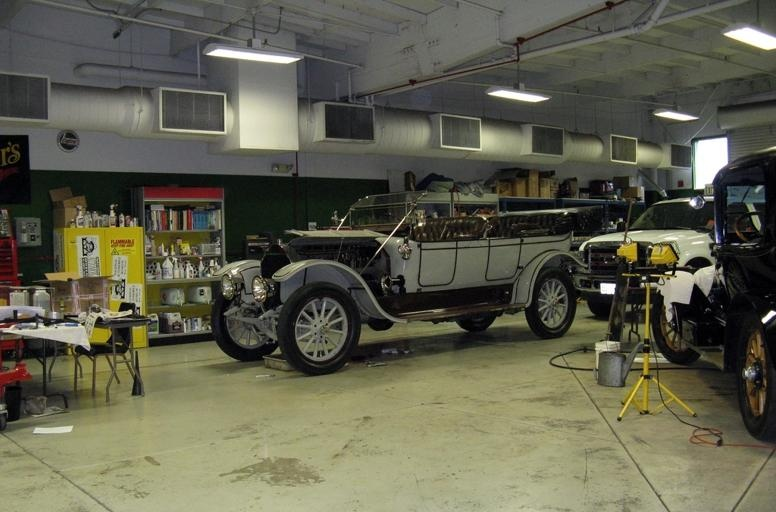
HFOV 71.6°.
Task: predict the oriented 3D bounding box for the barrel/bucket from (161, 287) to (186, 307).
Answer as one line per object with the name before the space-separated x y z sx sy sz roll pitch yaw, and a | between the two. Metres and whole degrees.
barrel/bucket | -3.897 0.734 9.621 0.394 0.260 0.563 -3 3 -44

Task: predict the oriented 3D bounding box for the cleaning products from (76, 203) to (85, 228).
cleaning products | -5.007 -0.658 8.756 0.135 0.349 0.274 -5 5 -28

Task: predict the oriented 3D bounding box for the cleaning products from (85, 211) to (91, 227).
cleaning products | -4.899 -0.601 8.817 0.097 0.227 0.242 -5 5 -28

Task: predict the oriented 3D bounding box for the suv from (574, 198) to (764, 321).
suv | 4.709 -0.090 9.463 3.286 1.413 1.647 1 -2 -21

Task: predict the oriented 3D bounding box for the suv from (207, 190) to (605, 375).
suv | 0.431 0.355 8.613 5.932 1.946 2.430 0 -3 -28

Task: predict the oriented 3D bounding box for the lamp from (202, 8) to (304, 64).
lamp | -2.145 -3.255 8.031 1.292 0.814 1.368 -4 4 -27

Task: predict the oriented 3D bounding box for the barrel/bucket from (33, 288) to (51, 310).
barrel/bucket | -4.427 0.541 6.882 0.188 0.284 0.452 -5 5 -31

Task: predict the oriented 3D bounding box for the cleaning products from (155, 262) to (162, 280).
cleaning products | -4.008 0.257 9.388 0.101 0.267 0.447 -4 4 -23

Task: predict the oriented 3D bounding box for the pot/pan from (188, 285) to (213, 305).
pot/pan | -3.407 0.694 9.710 0.532 0.353 0.307 3 5 36

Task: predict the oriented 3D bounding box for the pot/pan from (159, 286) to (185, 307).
pot/pan | -3.838 0.738 9.576 0.411 0.263 0.546 -1 -1 7
